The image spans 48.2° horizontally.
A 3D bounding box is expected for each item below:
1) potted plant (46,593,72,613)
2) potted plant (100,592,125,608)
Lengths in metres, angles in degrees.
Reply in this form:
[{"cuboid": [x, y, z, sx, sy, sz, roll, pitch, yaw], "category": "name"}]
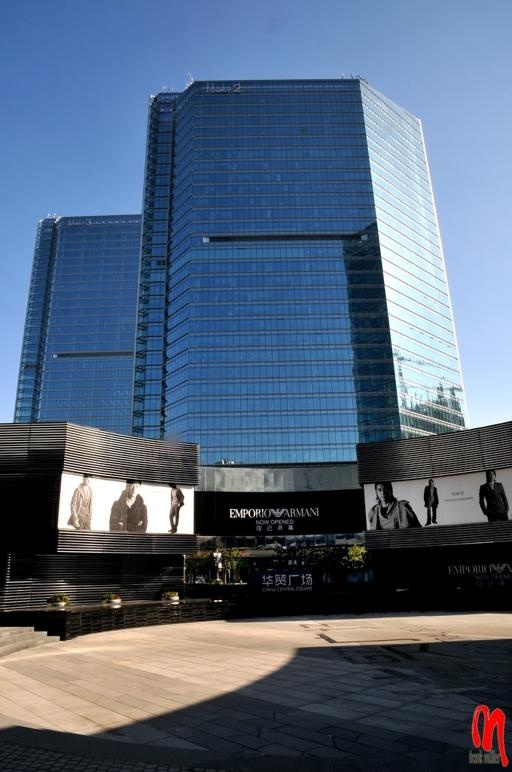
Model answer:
[{"cuboid": [-8.847, 9.598, 25.632, 0.787, 0.667, 1.154, 9, -25, -26], "category": "potted plant"}, {"cuboid": [-7.049, 10.471, 27.834, 0.913, 0.337, 0.924, 1, -13, -1], "category": "potted plant"}]
